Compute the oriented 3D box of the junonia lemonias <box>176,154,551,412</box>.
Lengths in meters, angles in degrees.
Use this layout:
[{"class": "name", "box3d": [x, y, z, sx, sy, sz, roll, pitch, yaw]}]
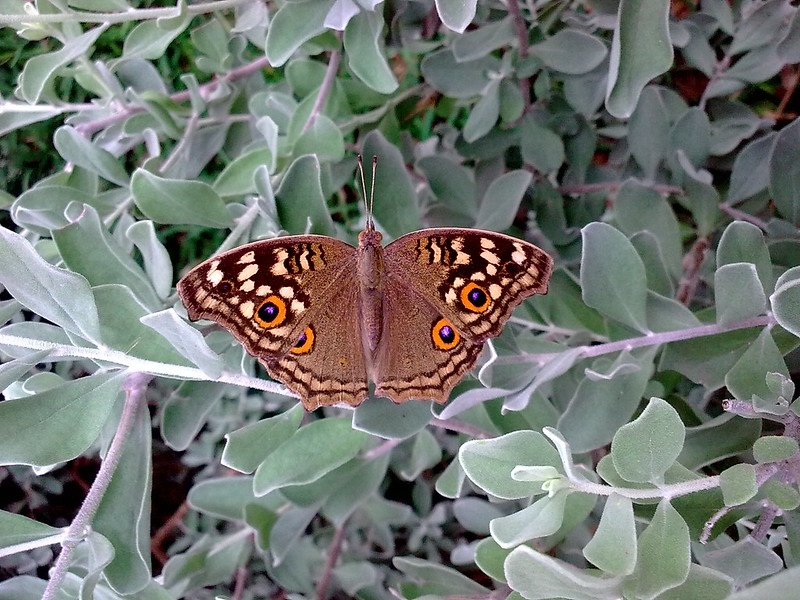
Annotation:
[{"class": "junonia lemonias", "box3d": [-0.053, -0.014, 1.531, 0.506, 0.275, 0.461, 37, 85, 5]}]
